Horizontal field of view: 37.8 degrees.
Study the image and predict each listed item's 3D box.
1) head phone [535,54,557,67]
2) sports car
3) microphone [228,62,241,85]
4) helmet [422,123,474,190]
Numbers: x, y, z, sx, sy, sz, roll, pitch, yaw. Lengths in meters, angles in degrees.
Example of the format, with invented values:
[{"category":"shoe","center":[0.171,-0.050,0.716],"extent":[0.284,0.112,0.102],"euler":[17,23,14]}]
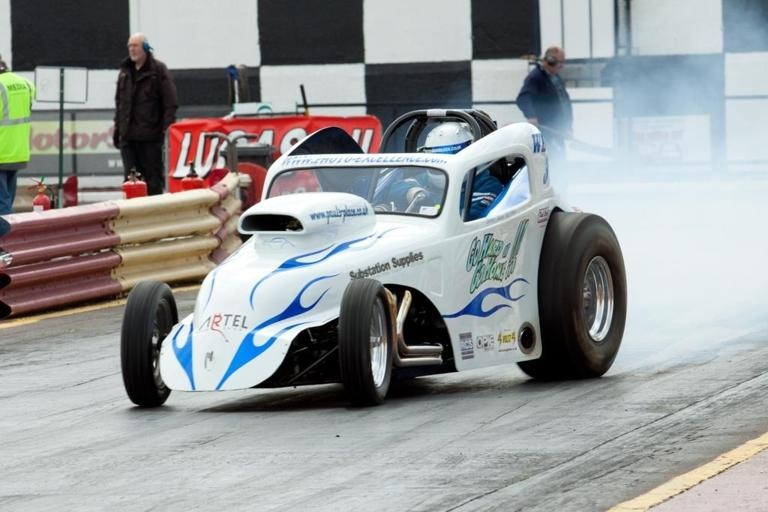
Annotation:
[{"category":"head phone","center":[2.109,-2.496,14.400],"extent":[0.225,0.108,0.173],"euler":[-4,5,28]},{"category":"sports car","center":[0.109,0.168,8.524],"extent":[2.072,1.700,3.286],"euler":[-5,-5,41]},{"category":"microphone","center":[-2.612,-3.161,19.616],"extent":[0.178,0.279,0.888],"euler":[-3,10,-8]},{"category":"helmet","center":[0.550,-0.908,9.330],"extent":[0.404,0.479,0.564],"euler":[-2,7,16]}]
